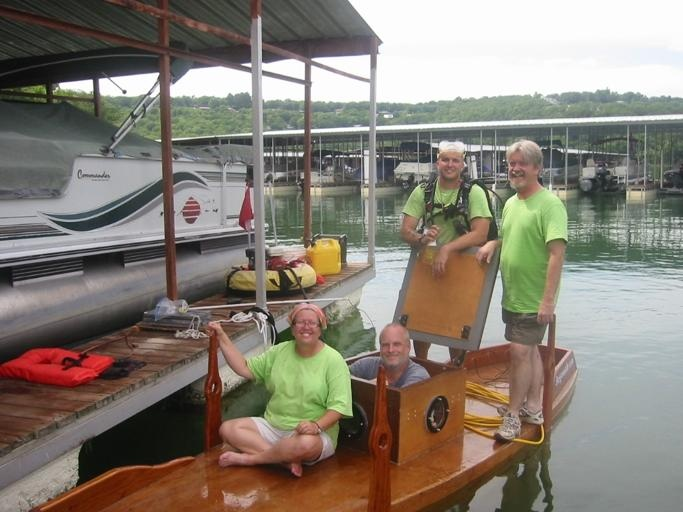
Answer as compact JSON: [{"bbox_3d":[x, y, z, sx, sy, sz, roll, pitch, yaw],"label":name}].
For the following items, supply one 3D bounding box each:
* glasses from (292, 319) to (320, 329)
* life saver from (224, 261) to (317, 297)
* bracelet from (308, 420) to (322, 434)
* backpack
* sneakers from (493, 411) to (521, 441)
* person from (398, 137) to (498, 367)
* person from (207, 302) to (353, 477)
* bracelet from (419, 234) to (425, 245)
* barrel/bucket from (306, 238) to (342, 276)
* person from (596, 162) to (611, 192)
[{"bbox_3d":[-0.250,0.484,4.079,0.207,0.066,0.078,-3,8,-4],"label":"glasses"},{"bbox_3d":[-1.076,0.345,8.417,1.445,0.431,1.430,-3,2,-16],"label":"life saver"},{"bbox_3d":[-0.186,1.209,4.021,0.032,0.090,0.089,-28,25,-25],"label":"bracelet"},{"bbox_3d":[1.106,-0.468,5.173,0.666,0.641,0.472,10,13,17],"label":"backpack"},{"bbox_3d":[1.417,1.437,4.838,0.133,0.152,0.338,-1,-1,31],"label":"sneakers"},{"bbox_3d":[0.904,0.039,5.106,0.789,2.001,0.785,3,14,8],"label":"person"},{"bbox_3d":[-0.474,0.956,4.197,1.114,1.165,0.722,1,2,13],"label":"person"},{"bbox_3d":[0.707,-0.147,4.935,0.024,0.064,0.046,13,-8,-37],"label":"bracelet"},{"bbox_3d":[-0.284,0.017,9.473,0.339,0.611,0.803,1,9,24],"label":"barrel/bucket"},{"bbox_3d":[17.199,-4.996,37.195,0.859,1.428,1.278,2,9,27],"label":"person"}]
